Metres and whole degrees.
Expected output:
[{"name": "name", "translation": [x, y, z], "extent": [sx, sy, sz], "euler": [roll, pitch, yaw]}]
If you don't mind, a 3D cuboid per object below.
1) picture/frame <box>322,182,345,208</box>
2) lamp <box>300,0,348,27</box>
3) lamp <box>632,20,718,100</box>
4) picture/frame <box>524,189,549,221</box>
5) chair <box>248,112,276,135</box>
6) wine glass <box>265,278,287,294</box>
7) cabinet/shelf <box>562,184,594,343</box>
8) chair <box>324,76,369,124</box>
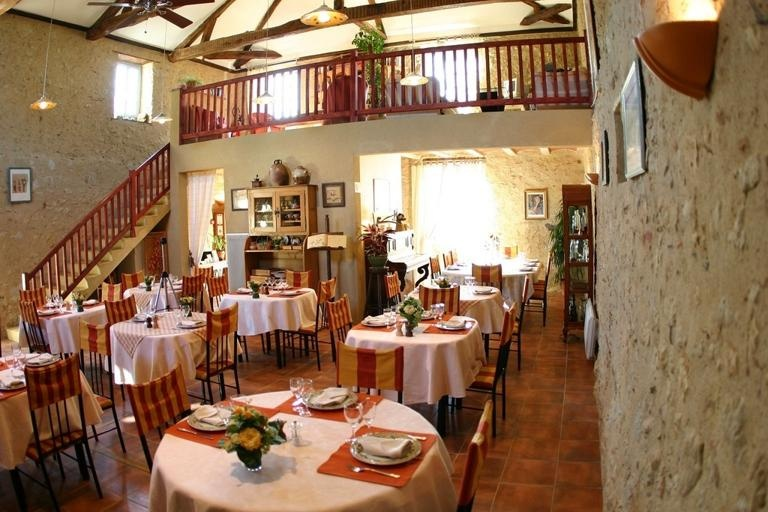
[{"name": "picture/frame", "translation": [-0.853, -1.046, 9.579], "extent": [0.448, 0.458, 0.033], "euler": [1, 4, 23]}, {"name": "lamp", "translation": [-0.833, -3.335, 7.584], "extent": [0.562, 0.357, 1.136], "euler": [-4, 13, -5]}, {"name": "lamp", "translation": [1.338, -0.897, 2.578], "extent": [0.343, 0.350, 0.157], "euler": [4, 15, 27]}, {"name": "picture/frame", "translation": [3.110, -1.046, 11.310], "extent": [0.618, 0.794, 0.084], "euler": [4, 11, 29]}, {"name": "chair", "translation": [-2.420, -2.670, 11.109], "extent": [0.472, 0.453, 2.340], "euler": [-6, 13, -12]}, {"name": "wine glass", "translation": [-1.579, 0.447, 8.151], "extent": [0.255, 0.101, 0.257], "euler": [4, 12, 16]}, {"name": "cabinet/shelf", "translation": [2.776, 0.082, 8.039], "extent": [0.439, 2.189, 0.985], "euler": [1, 14, 18]}, {"name": "chair", "translation": [-0.727, -2.749, 9.739], "extent": [0.788, 0.936, 0.853], "euler": [0, 9, -1]}]
